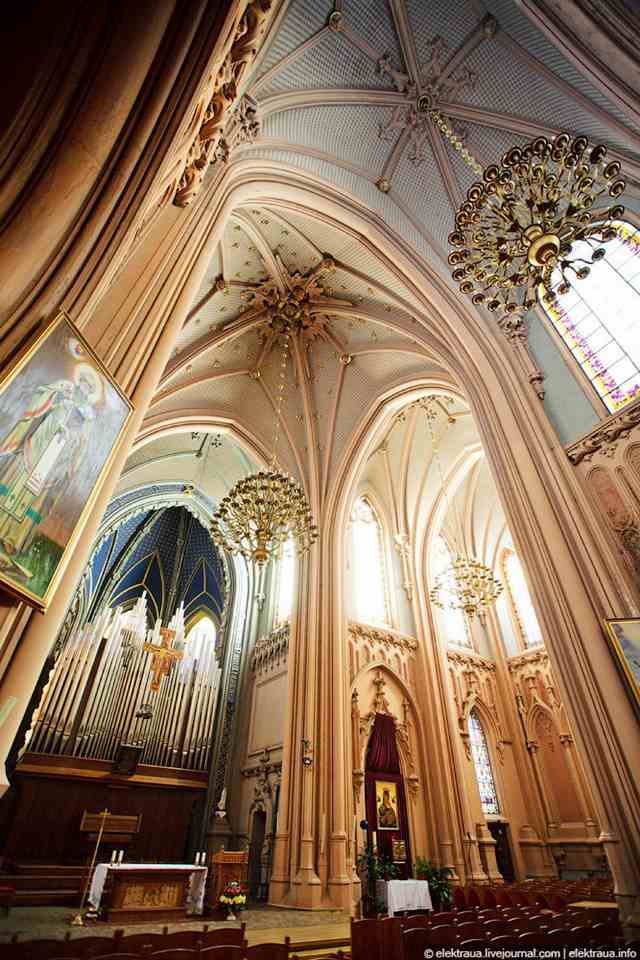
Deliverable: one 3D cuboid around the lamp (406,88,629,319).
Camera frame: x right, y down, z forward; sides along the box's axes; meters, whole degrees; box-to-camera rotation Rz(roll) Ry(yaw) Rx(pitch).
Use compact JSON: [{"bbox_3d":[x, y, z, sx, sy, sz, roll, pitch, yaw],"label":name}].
[{"bbox_3d":[2.771,-3.827,5.939,2.055,4.233,1.967,12,-50,-4],"label":"lamp"}]
